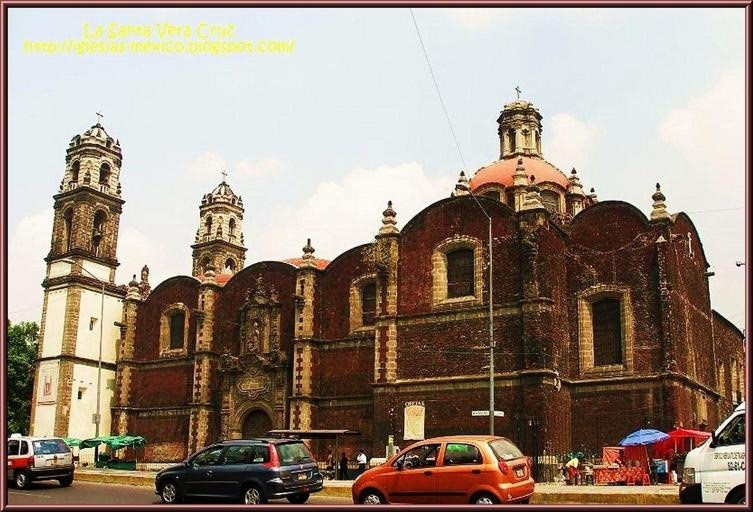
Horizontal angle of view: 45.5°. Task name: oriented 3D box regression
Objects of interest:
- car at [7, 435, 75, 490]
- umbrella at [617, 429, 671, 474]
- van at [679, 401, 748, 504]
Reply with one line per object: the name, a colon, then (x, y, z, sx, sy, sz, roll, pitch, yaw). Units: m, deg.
car: (-14.570, 8.906, 38.841, 2.545, 2.138, 0.882, 7, -19, -26)
umbrella: (12.509, 9.320, 42.274, 2.012, 2.221, 1.672, 1, -3, -14)
van: (11.452, 6.708, 29.738, 1.759, 3.624, 1.845, 10, -13, -23)
